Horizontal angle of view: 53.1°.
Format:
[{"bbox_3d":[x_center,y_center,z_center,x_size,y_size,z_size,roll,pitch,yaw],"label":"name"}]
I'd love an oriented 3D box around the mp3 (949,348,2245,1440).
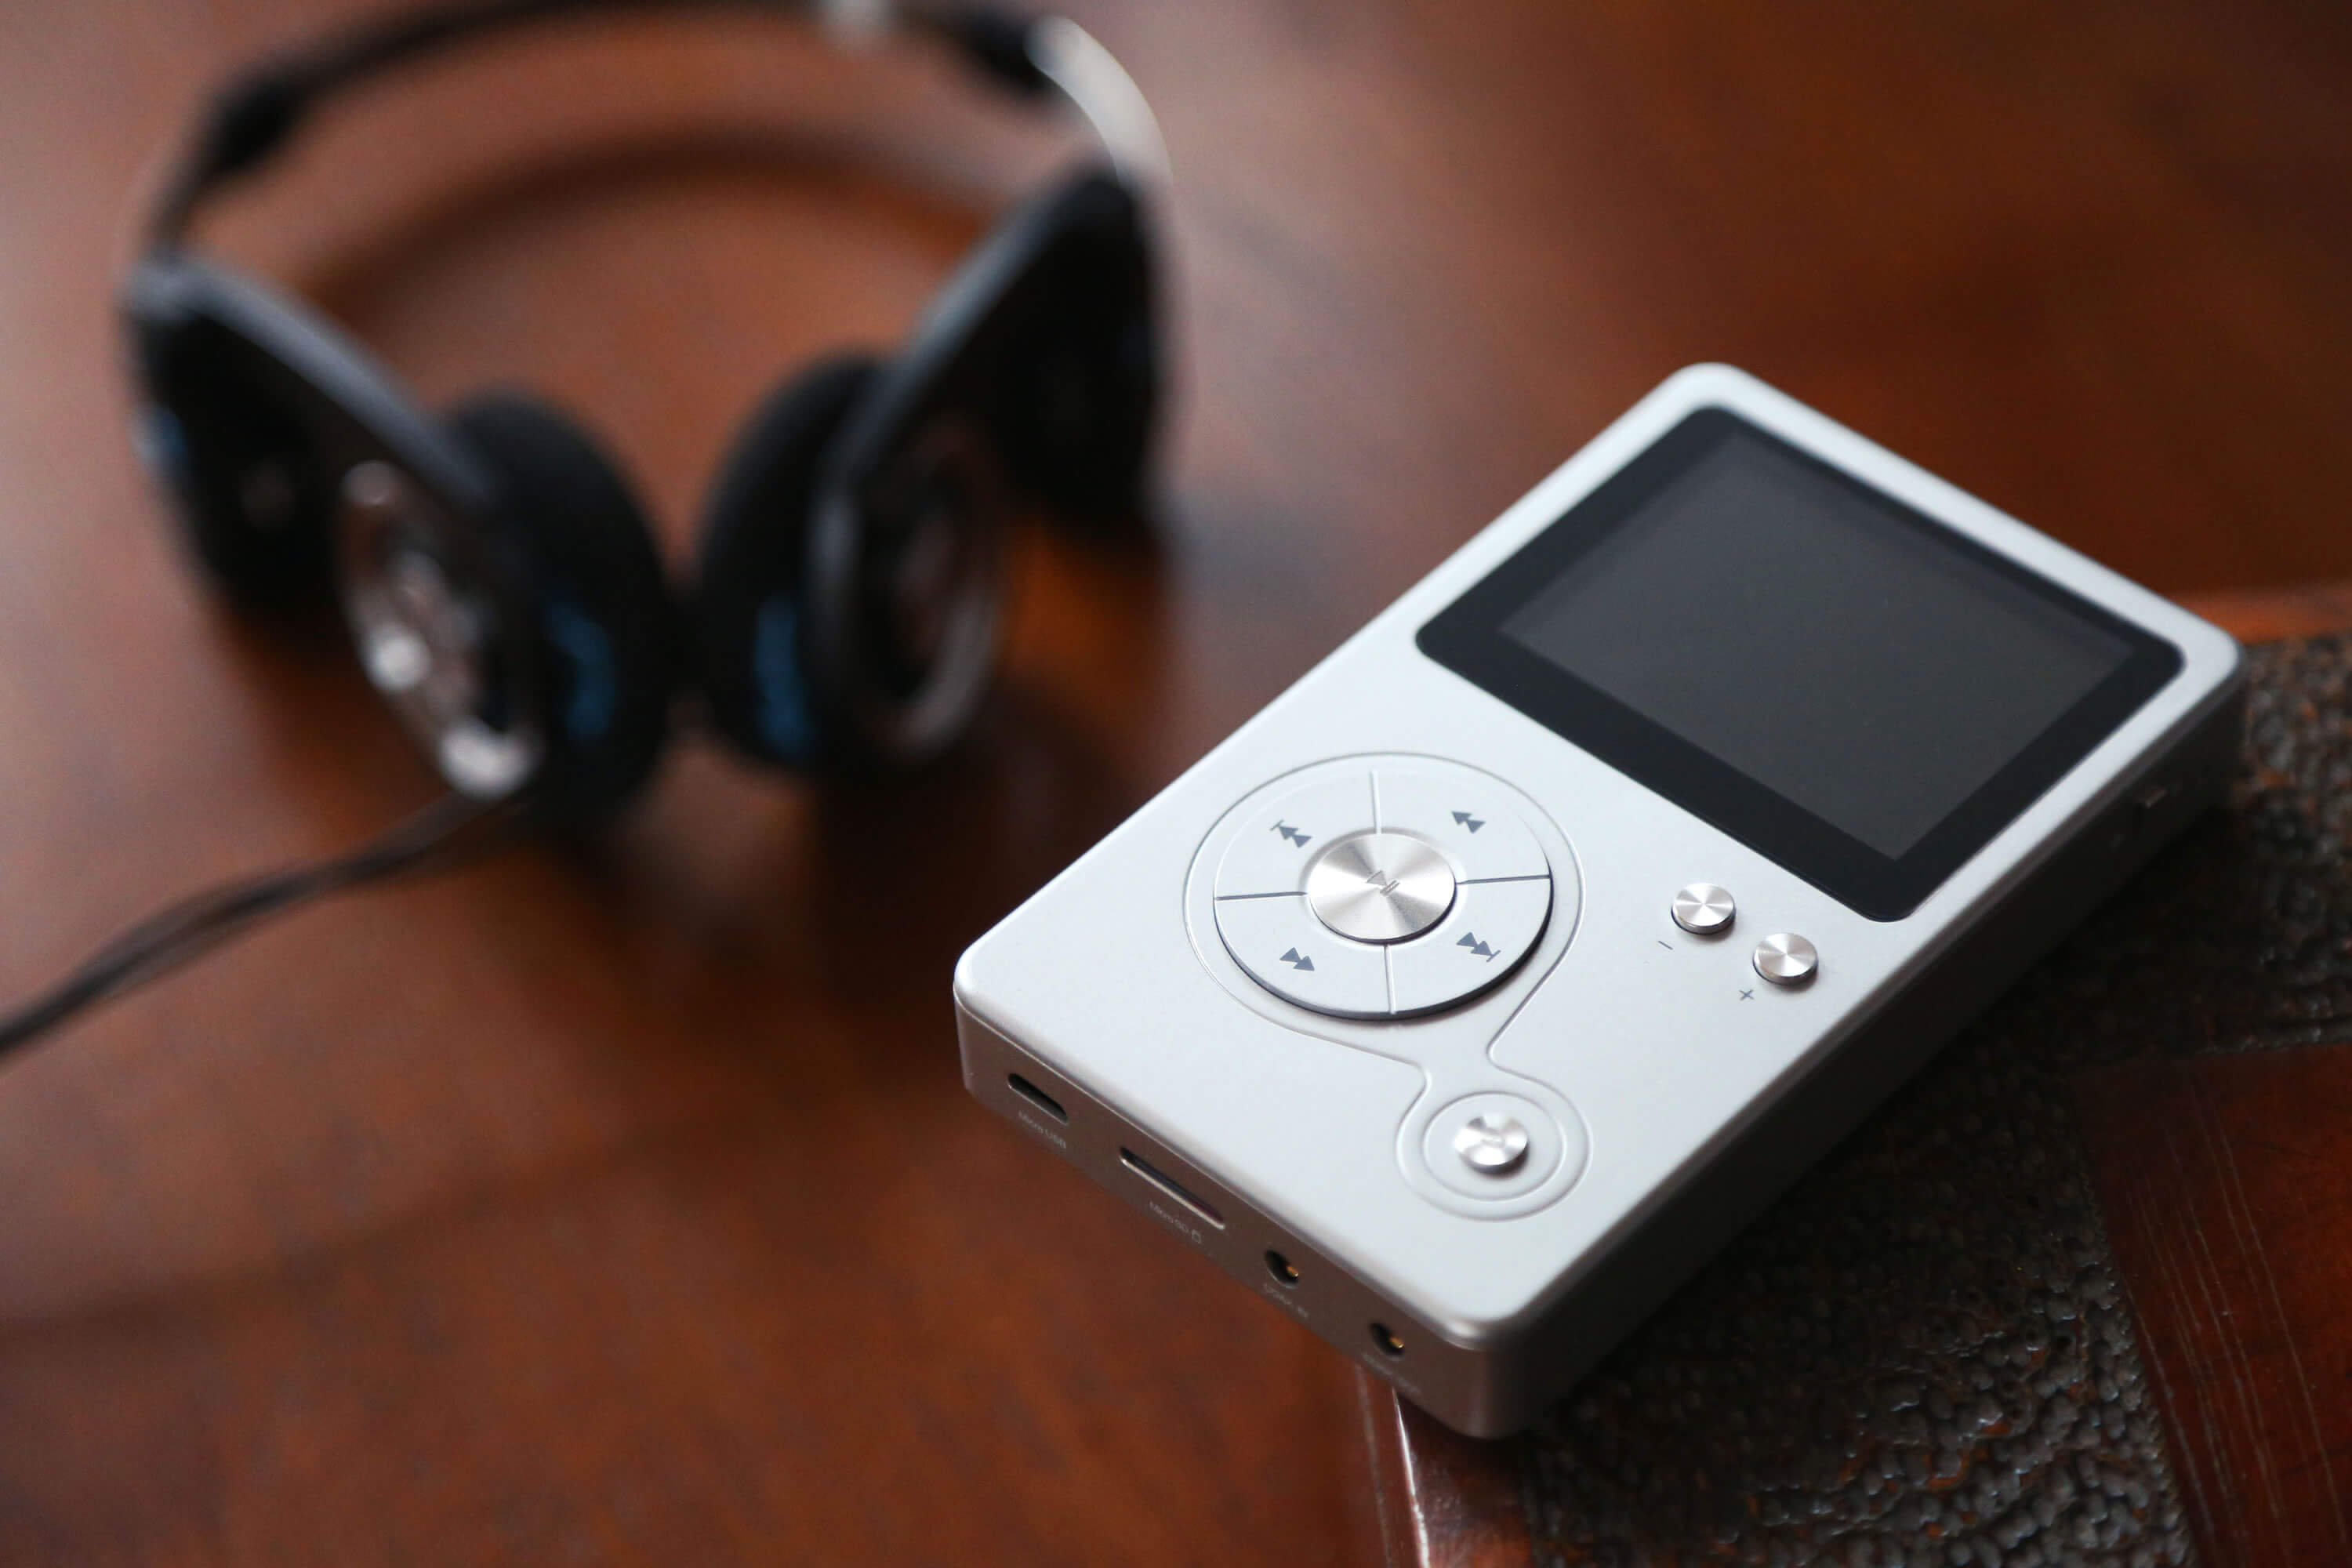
[{"bbox_3d":[0.132,0.016,0.729,0.235,0.106,0.383,34,62,31],"label":"mp3"}]
